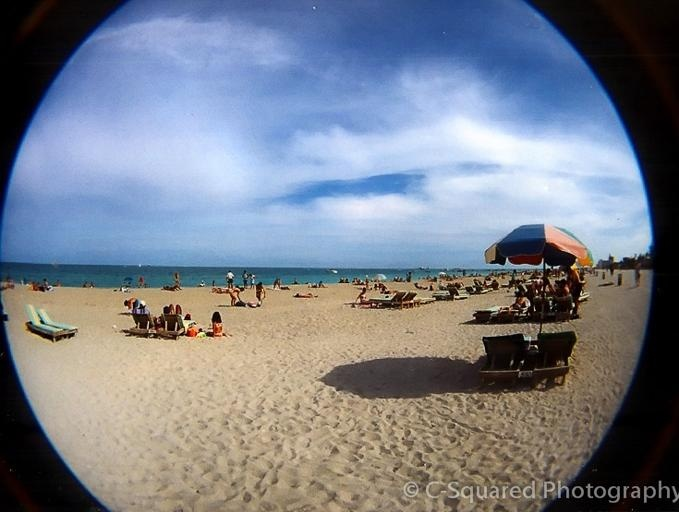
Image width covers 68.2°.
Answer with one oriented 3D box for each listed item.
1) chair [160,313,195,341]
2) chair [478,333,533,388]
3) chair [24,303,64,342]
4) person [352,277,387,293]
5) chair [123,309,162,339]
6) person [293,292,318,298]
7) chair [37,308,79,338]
[{"bbox_3d":[-5.565,2.303,17.026,0.685,0.546,0.986,1,3,3],"label":"chair"},{"bbox_3d":[3.822,2.345,11.716,0.827,0.844,1.446,-1,0,19],"label":"chair"},{"bbox_3d":[-10.926,2.451,18.507,2.144,0.829,0.579,10,18,36],"label":"chair"},{"bbox_3d":[2.708,2.468,42.262,2.261,0.821,1.546,2,-2,-16],"label":"person"},{"bbox_3d":[-6.745,2.335,17.428,0.857,0.702,1.189,-1,9,4],"label":"chair"},{"bbox_3d":[-2.303,2.608,33.446,1.577,0.277,1.233,0,5,2],"label":"person"},{"bbox_3d":[-9.922,2.381,17.495,1.764,0.660,0.950,9,8,22],"label":"chair"}]
